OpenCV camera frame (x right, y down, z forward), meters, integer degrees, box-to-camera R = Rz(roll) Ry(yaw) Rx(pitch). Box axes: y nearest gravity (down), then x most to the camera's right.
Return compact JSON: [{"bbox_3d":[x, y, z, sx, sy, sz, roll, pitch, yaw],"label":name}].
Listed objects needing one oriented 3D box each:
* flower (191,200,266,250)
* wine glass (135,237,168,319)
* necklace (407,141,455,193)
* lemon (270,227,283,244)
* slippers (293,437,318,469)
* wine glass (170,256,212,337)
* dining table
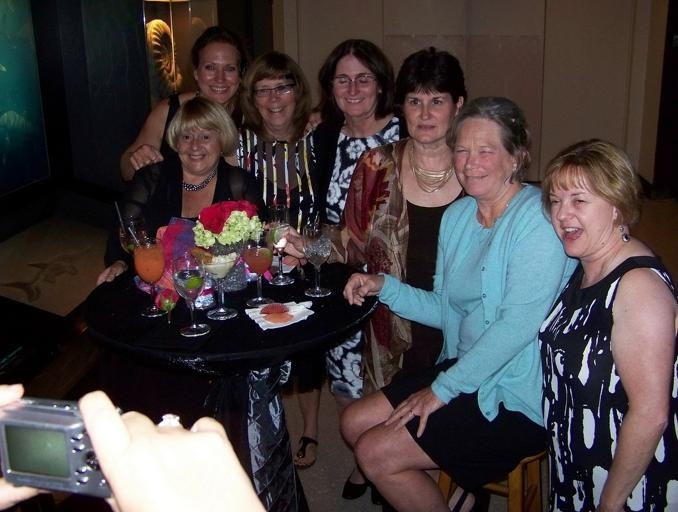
[{"bbox_3d":[-0.436,-0.149,2.017,0.201,0.151,0.212,4,30,27],"label":"flower"},{"bbox_3d":[-0.732,0.074,1.996,0.111,0.239,0.312,-9,23,-19],"label":"wine glass"},{"bbox_3d":[0.459,-0.448,2.573,0.183,0.211,0.093,-2,-11,5],"label":"necklace"},{"bbox_3d":[-0.262,-0.090,2.149,0.043,0.054,0.057,-2,12,0],"label":"lemon"},{"bbox_3d":[-0.183,1.070,2.757,0.073,0.069,0.184,-1,3,7],"label":"slippers"},{"bbox_3d":[-0.542,0.136,1.867,0.106,0.247,0.362,-8,23,-17],"label":"wine glass"},{"bbox_3d":[-0.459,0.510,2.404,0.979,1.242,1.136,2,30,3],"label":"dining table"}]
